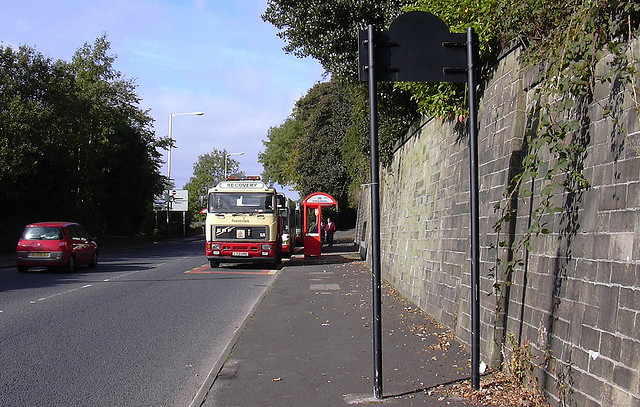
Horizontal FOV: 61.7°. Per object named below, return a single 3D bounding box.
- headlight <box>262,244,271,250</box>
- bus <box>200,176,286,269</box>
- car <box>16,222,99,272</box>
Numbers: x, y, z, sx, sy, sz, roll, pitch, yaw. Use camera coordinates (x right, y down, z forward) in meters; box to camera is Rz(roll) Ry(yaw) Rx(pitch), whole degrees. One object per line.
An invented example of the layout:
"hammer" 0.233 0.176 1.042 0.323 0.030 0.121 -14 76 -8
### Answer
"headlight" -2.365 1.872 23.396 0.354 0.222 0.076 -1 0 -5
"bus" -3.458 1.107 26.133 2.734 3.592 5.955 0 -7 1
"car" -10.789 1.752 22.185 1.829 2.062 2.884 -1 -1 23
